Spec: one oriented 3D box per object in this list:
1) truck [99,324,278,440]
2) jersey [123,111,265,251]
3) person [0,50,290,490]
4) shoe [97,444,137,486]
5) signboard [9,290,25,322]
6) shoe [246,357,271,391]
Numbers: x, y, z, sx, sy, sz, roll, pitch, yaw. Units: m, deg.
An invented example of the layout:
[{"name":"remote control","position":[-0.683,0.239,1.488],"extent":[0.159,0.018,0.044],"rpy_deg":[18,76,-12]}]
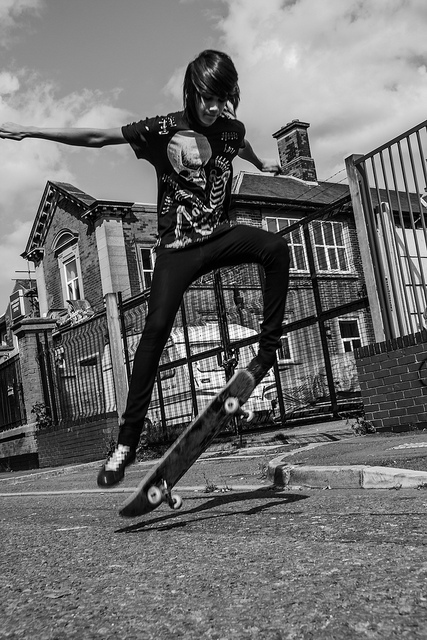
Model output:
[{"name":"truck","position":[-0.131,1.681,15.872],"extent":[5.615,2.780,1.612],"rpy_deg":[-14,-12,31]},{"name":"jersey","position":[-0.125,-0.795,3.263],"extent":[1.093,0.700,0.287],"rpy_deg":[-7,15,-22]},{"name":"person","position":[-0.158,-0.300,3.089],"extent":[1.148,2.136,0.545],"rpy_deg":[-9,-11,-1]},{"name":"shoe","position":[-0.483,0.683,2.897],"extent":[0.098,0.121,0.263],"rpy_deg":[18,20,13]},{"name":"signboard","position":[-11.396,-0.862,34.364],"extent":[0.251,1.790,1.456],"rpy_deg":[13,-29,-37]},{"name":"shoe","position":[0.234,0.270,3.127],"extent":[0.138,0.105,0.051],"rpy_deg":[-52,-6,-20]}]
